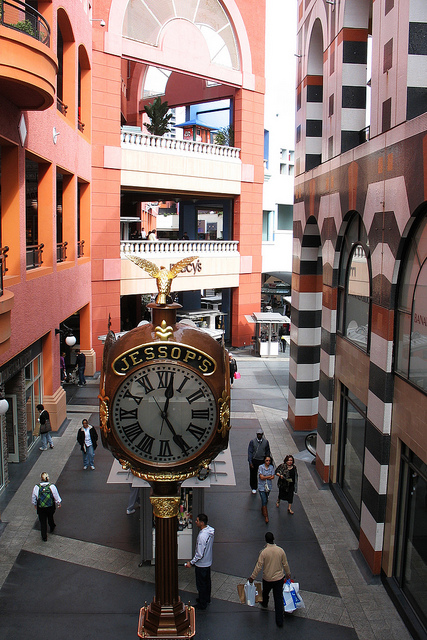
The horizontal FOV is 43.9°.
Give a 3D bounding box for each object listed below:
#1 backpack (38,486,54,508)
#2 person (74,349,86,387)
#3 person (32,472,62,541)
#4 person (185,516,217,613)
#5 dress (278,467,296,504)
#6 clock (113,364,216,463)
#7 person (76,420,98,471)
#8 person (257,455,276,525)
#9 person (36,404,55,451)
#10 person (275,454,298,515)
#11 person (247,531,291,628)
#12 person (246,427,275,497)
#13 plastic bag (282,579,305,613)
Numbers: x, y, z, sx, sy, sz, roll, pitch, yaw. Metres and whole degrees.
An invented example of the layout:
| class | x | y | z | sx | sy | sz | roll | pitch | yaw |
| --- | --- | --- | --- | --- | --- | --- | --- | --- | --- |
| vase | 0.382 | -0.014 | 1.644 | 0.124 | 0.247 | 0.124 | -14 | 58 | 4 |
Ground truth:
| class | x | y | z | sx | sy | sz | roll | pitch | yaw |
| --- | --- | --- | --- | --- | --- | --- | --- | --- | --- |
| backpack | -3.343 | 3.457 | 10.553 | 0.333 | 0.678 | 0.291 | 4 | -11 | -27 |
| person | -5.942 | 2.214 | 23.604 | 0.445 | 1.506 | 1.020 | 0 | 2 | -16 |
| person | -3.380 | 3.709 | 10.699 | 0.435 | 1.454 | 0.413 | -8 | 17 | -35 |
| person | -0.174 | 3.701 | 8.124 | 0.328 | 1.592 | 0.668 | 0 | 2 | -3 |
| dress | 1.729 | 3.758 | 12.125 | 0.326 | 0.814 | 0.711 | 1 | 11 | -7 |
| clock | -0.290 | 0.517 | 3.081 | 0.385 | 0.582 | 0.061 | 1 | 10 | 6 |
| person | -3.423 | 3.355 | 14.388 | 0.411 | 1.447 | 0.334 | -8 | 15 | -25 |
| person | 1.213 | 3.766 | 11.992 | 0.379 | 1.385 | 0.936 | 0 | 2 | 5 |
| person | -5.113 | 3.174 | 16.111 | 0.480 | 1.529 | 1.703 | 0 | 3 | -19 |
| person | 1.682 | 3.734 | 12.136 | 0.447 | 1.434 | 0.776 | 1 | 2 | 8 |
| person | 0.871 | 3.759 | 7.804 | 0.392 | 1.208 | 0.614 | -5 | 3 | -26 |
| person | 1.096 | 3.391 | 12.714 | 0.384 | 1.729 | 0.469 | -2 | 14 | -4 |
| plastic bag | 1.212 | 4.106 | 7.942 | 0.427 | 0.535 | 0.144 | -2 | 3 | -41 |
